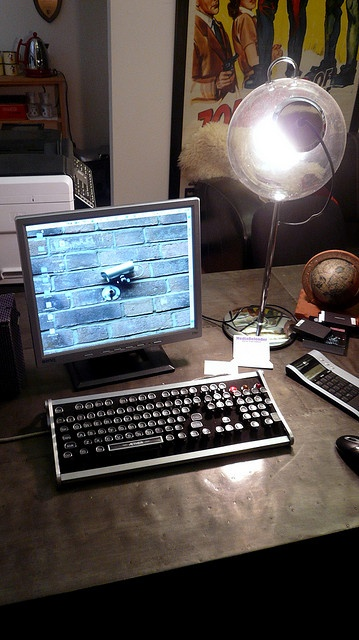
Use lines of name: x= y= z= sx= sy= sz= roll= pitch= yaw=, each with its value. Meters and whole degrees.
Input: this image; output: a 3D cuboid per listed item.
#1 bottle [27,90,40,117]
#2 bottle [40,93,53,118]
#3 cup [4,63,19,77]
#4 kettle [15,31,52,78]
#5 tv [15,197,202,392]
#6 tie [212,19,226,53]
bottle: x=-1.268 y=-1.861 z=3.850 sx=0.074 sy=0.161 sz=0.262 roll=-4 pitch=75 yaw=-12
bottle: x=-1.160 y=-1.865 z=3.860 sx=0.099 sy=0.168 sz=0.185 roll=-8 pitch=66 yaw=-14
cup: x=-1.408 y=-2.108 z=3.742 sx=0.093 sy=0.107 sz=0.109 roll=2 pitch=45 yaw=-9
kettle: x=-1.240 y=-2.222 z=3.714 sx=0.305 sy=0.311 sz=0.202 roll=42 pitch=56 yaw=15
tv: x=-0.151 y=-0.045 z=0.994 sx=0.350 sy=0.379 sz=0.121 roll=-12 pitch=30 yaw=-20
tie: x=0.211 y=-1.556 z=2.413 sx=0.088 sy=0.135 sz=0.021 roll=-18 pitch=29 yaw=-34
